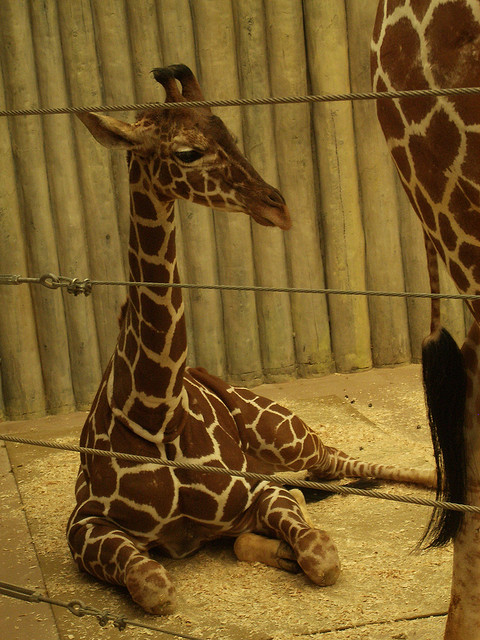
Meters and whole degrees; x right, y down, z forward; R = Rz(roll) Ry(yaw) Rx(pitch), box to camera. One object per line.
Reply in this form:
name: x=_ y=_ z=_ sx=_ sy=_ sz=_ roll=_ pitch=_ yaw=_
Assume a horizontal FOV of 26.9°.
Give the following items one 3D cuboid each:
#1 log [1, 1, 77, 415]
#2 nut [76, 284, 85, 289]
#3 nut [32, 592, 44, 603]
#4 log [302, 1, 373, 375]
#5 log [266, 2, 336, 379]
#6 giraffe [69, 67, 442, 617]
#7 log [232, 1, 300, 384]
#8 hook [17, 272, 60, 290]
log: x=-0.930 y=-0.492 z=4.622 sx=0.164 sy=1.910 sz=0.188 roll=-7 pitch=13 yaw=-9
nut: x=-0.392 y=-0.084 z=2.461 sx=0.022 sy=0.009 sz=0.005 roll=0 pitch=13 yaw=21
nut: x=-0.400 y=0.555 z=1.992 sx=0.011 sy=0.015 sz=0.040 roll=9 pitch=-8 yaw=-13
log: x=0.487 y=-0.666 z=4.949 sx=0.232 sy=2.129 sz=0.231 roll=-4 pitch=11 yaw=-4
log: x=0.282 y=-0.673 z=4.910 sx=0.225 sy=2.008 sz=0.183 roll=-4 pitch=10 yaw=-5
giraffe: x=0.155 y=0.029 z=3.042 sx=1.019 sy=1.453 sz=1.336 roll=15 pitch=18 yaw=41
log: x=0.163 y=-0.600 z=4.947 sx=0.202 sy=2.164 sz=0.248 roll=-4 pitch=12 yaw=0
hook: x=-0.493 y=-0.095 z=2.427 sx=0.079 sy=0.042 sz=0.013 roll=1 pitch=-31 yaw=-18
